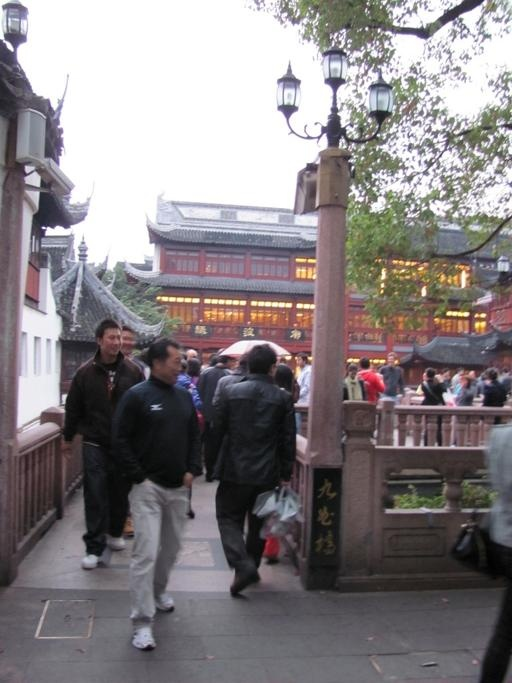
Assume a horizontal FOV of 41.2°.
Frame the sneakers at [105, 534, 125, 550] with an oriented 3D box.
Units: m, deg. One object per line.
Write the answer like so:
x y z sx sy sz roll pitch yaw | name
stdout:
-1.043 1.495 5.087 0.075 0.088 0.208 6 -17 -22 | sneakers

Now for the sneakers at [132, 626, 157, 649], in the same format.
-0.541 1.434 3.298 0.115 0.092 0.113 3 -2 -8 | sneakers

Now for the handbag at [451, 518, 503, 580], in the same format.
0.946 0.868 3.009 0.143 0.259 0.250 -6 -2 -2 | handbag

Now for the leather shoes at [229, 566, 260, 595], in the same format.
-0.076 1.464 4.236 0.162 0.220 0.350 3 -2 -3 | leather shoes

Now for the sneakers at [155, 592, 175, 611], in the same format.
-0.512 1.463 3.838 0.068 0.079 0.114 9 -28 -21 | sneakers
